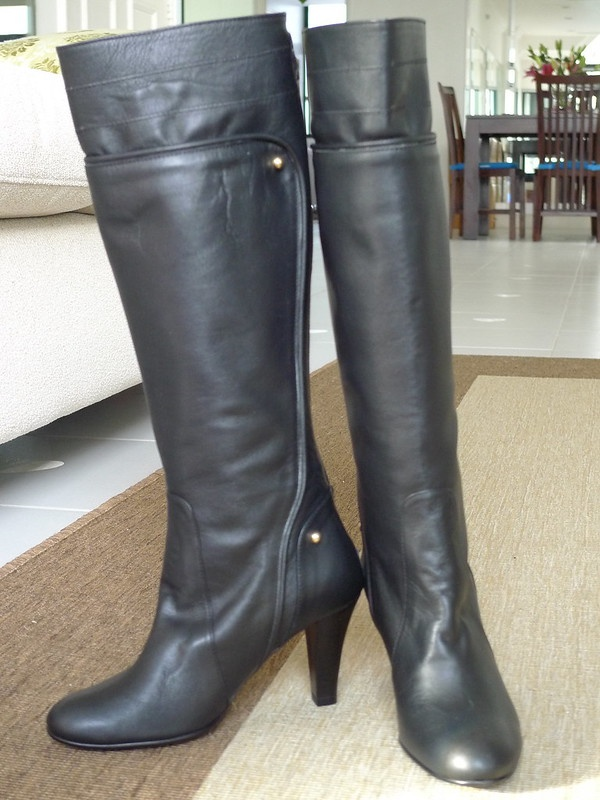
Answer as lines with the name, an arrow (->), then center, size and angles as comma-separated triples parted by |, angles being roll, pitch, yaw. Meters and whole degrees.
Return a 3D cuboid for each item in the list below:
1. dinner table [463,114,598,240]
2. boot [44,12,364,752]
dinner table -> 1.818, -1.872, 5.693 | 0.731, 0.940, 0.705 | 5, 23, 16
boot -> -0.055, 0.006, 0.397 | 0.203, 0.428, 0.087 | -6, 10, -25
